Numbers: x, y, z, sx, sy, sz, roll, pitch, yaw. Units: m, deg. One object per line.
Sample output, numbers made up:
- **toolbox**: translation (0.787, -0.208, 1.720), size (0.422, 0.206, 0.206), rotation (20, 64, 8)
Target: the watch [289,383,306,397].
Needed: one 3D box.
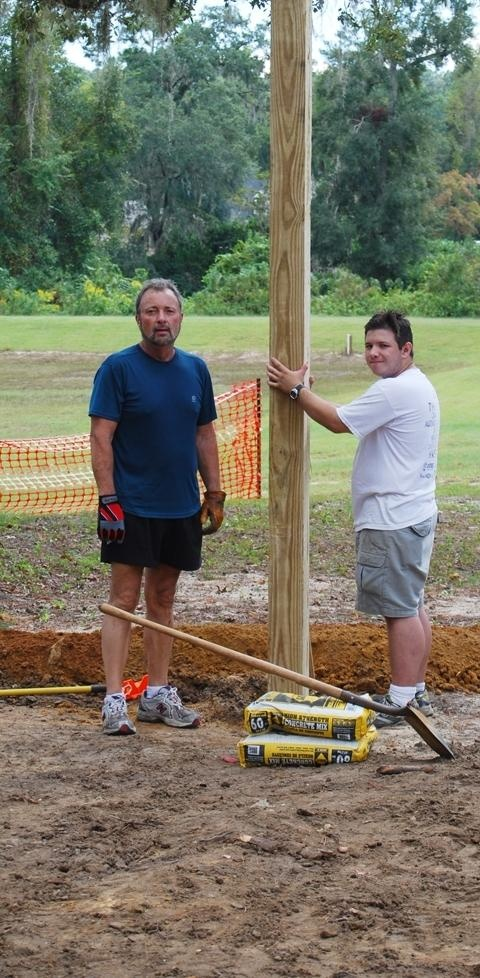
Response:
- **watch**: translation (0.223, -0.403, 5.165), size (0.064, 0.066, 0.038), rotation (-12, 35, -44)

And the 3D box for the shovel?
- **shovel**: translation (0.186, 0.750, 5.030), size (1.300, 0.546, 0.571), rotation (0, 7, 9)

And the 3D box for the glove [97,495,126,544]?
- **glove**: translation (-0.535, 0.132, 5.302), size (0.112, 0.188, 0.078), rotation (-3, 6, -8)

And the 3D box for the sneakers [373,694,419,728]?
- **sneakers**: translation (0.701, 0.953, 5.406), size (0.272, 0.124, 0.091), rotation (-1, 3, -22)

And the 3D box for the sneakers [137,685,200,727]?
- **sneakers**: translation (-0.321, 0.958, 5.653), size (0.326, 0.191, 0.122), rotation (6, 3, 24)
